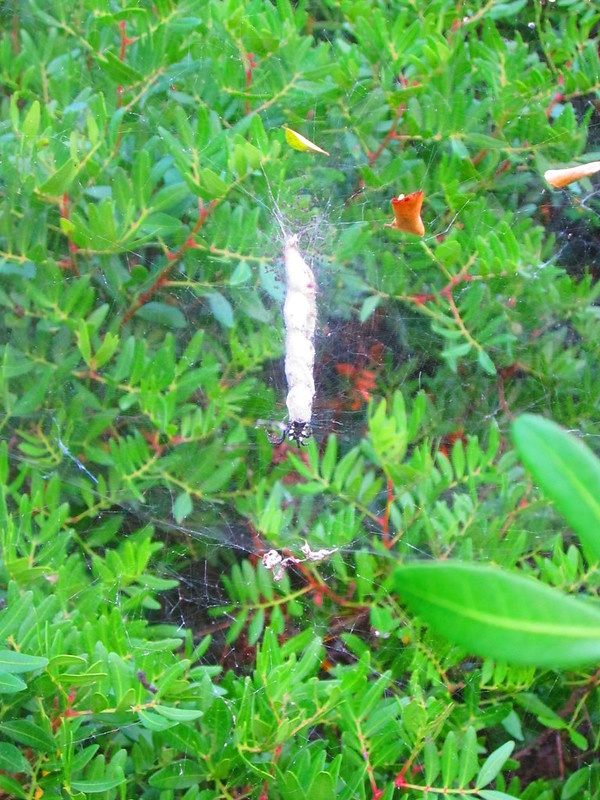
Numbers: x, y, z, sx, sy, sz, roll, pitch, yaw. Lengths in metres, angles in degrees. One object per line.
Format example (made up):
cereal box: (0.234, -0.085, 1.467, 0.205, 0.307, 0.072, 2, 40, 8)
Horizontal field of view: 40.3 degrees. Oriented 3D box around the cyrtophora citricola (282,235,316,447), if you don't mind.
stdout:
cyrtophora citricola: (-0.014, -0.106, 1.587, 0.079, 0.353, 0.063, -2, 15, -13)
